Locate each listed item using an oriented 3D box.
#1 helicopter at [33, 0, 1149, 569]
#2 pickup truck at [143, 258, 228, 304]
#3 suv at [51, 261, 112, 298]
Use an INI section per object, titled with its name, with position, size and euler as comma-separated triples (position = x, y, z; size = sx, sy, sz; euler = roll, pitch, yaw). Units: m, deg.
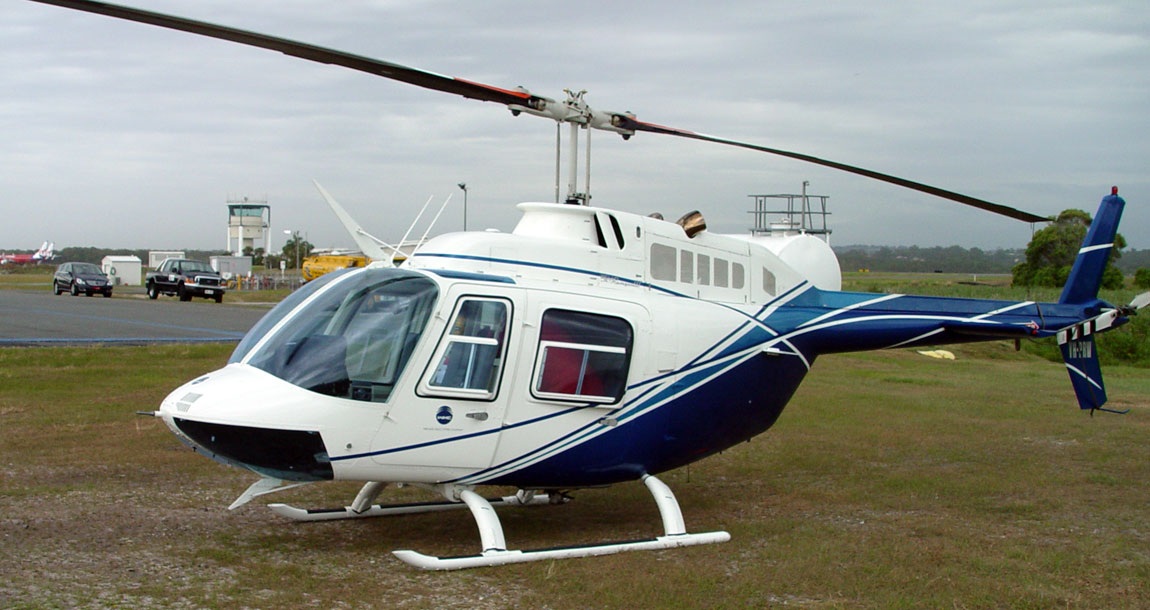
[helicopter]
position = 0.192, 0.493, 17.110
size = 19.184, 4.639, 8.330
euler = 2, -5, -19
[pickup truck]
position = -17.938, -1.134, 42.842
size = 2.287, 1.172, 4.381
euler = 1, 3, -42
[suv]
position = -24.036, -1.196, 45.437
size = 1.998, 0.966, 3.955
euler = 2, -2, -35
